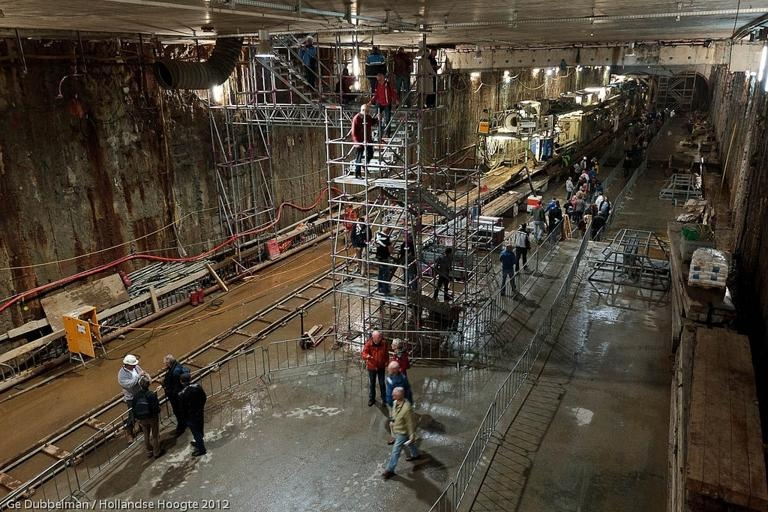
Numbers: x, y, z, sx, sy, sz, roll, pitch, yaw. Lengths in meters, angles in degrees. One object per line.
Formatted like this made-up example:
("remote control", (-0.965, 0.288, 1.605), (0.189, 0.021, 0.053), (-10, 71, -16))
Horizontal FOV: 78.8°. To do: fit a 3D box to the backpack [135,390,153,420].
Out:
("backpack", (-5.432, 3.367, 10.579), (0.412, 0.603, 0.300), (-13, 22, -31))
